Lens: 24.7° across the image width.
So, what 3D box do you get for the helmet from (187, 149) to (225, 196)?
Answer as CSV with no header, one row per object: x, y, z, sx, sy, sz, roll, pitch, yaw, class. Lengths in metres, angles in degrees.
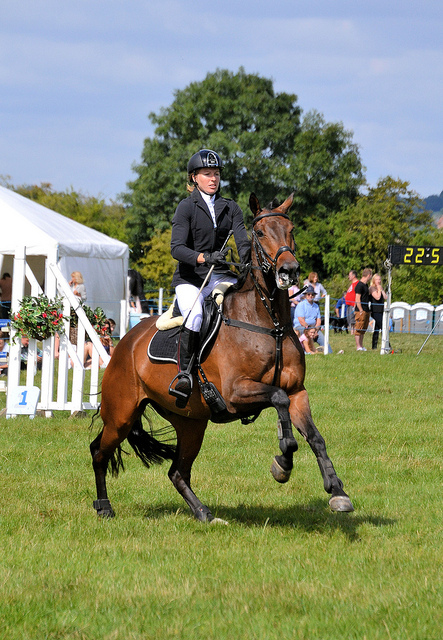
-0.116,-1.097,7.595,0.288,0.375,0.321,0,-1,-26,helmet

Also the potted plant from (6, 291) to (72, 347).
-2.460,0.037,13.570,0.705,0.704,0.482,7,-15,-22,potted plant

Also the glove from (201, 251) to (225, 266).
-0.051,-0.424,7.284,0.091,0.120,0.042,1,-27,10,glove

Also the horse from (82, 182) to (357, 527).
-0.201,0.471,7.985,0.734,2.275,3.789,4,-10,-28,horse

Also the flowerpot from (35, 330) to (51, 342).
-2.361,0.217,13.515,0.200,0.155,0.324,7,1,-8,flowerpot
